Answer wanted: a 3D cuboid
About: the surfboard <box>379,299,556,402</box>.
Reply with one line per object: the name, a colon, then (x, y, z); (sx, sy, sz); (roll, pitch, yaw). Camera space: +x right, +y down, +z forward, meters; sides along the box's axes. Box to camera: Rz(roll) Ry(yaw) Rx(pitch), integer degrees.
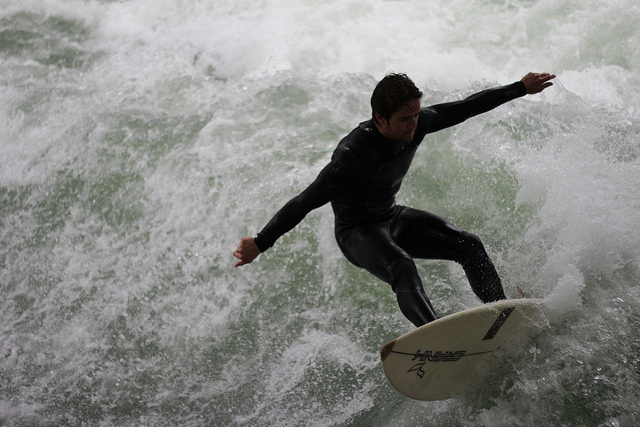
surfboard: (1.002, 1.106, 6.745); (0.430, 2.615, 0.751); (26, 76, -1)
